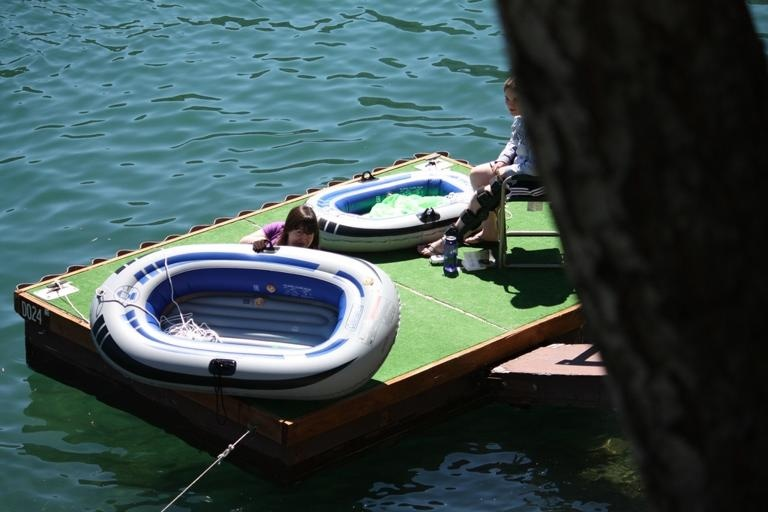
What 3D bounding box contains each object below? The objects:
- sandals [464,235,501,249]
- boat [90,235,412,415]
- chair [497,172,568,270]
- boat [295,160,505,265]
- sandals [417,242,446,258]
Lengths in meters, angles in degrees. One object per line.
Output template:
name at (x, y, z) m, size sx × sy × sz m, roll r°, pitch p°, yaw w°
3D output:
sandals at (0.799, -0.112, 6.840) m, size 0.286 × 0.058 × 0.100 m, roll 4°, pitch 25°, yaw -2°
boat at (-0.809, 0.422, 5.137) m, size 1.522 × 0.372 × 1.109 m, roll 5°, pitch 28°, yaw 13°
chair at (1.093, -0.373, 6.120) m, size 0.462 × 0.343 × 0.317 m, roll 3°, pitch -1°, yaw 5°
boat at (0.128, -0.384, 6.990) m, size 1.237 × 0.313 × 0.761 m, roll -18°, pitch 36°, yaw -24°
sandals at (0.379, -0.054, 6.703) m, size 0.235 × 0.054 × 0.083 m, roll -8°, pitch 58°, yaw 12°
